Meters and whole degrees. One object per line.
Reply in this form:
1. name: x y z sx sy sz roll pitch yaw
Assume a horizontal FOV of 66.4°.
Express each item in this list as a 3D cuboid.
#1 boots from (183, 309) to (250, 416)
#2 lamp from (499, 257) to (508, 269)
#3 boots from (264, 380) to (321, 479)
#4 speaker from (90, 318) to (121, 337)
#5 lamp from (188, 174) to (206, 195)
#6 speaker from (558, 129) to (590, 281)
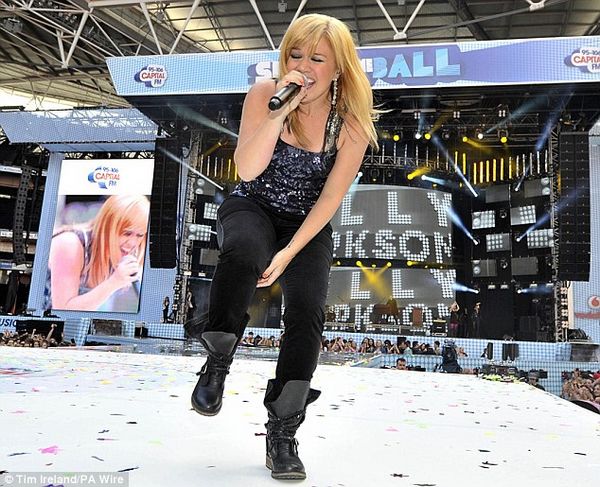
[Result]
1. boots: -0.244 0.356 1.558 0.168 0.407 0.198 12 -18 -17
2. lamp: 5.825 0.578 13.201 0.116 0.262 0.232 6 -1 -44
3. boots: -0.047 0.563 1.420 0.140 0.266 0.193 5 -11 -3
4. speaker: -4.391 1.905 10.493 0.757 0.347 0.387 8 -11 -28
5. lamp: -2.958 -1.709 13.293 0.149 0.439 0.579 -5 -2 33
6. speaker: 5.880 -0.805 9.940 0.649 3.145 0.988 -2 -14 27
